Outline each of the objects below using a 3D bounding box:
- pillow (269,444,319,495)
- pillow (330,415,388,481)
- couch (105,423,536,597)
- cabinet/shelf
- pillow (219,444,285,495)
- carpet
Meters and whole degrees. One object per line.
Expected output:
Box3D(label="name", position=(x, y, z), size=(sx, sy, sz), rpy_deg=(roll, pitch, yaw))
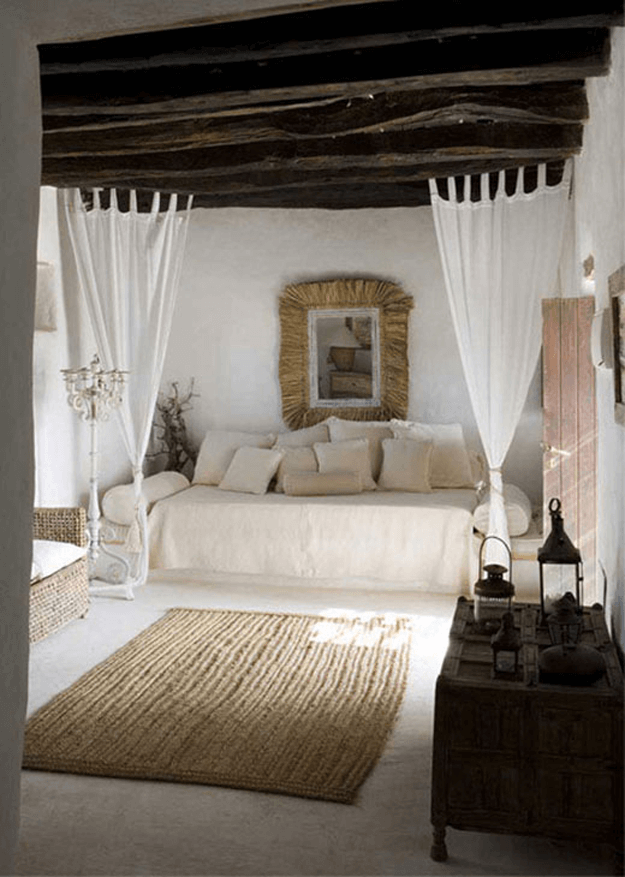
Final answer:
Box3D(label="pillow", position=(-0.129, 0.233, 5.449), size=(0.298, 0.325, 0.124), rpy_deg=(-2, -16, 10))
Box3D(label="pillow", position=(0.342, 0.092, 5.419), size=(0.429, 0.179, 0.472), rpy_deg=(-1, 44, 2))
Box3D(label="couch", position=(0.078, 0.492, 5.062), size=(2.693, 0.986, 1.210), rpy_deg=(0, 2, 8))
Box3D(label="cabinet/shelf", position=(0.590, 0.794, 2.022), size=(0.472, 0.624, 0.512), rpy_deg=(0, 2, 17))
Box3D(label="pillow", position=(-0.447, 0.238, 5.354), size=(0.352, 0.363, 0.110), rpy_deg=(6, -24, 36))
Box3D(label="carpet", position=(-0.352, 1.072, 3.081), size=(1.439, 0.035, 1.511), rpy_deg=(0, 2, 13))
